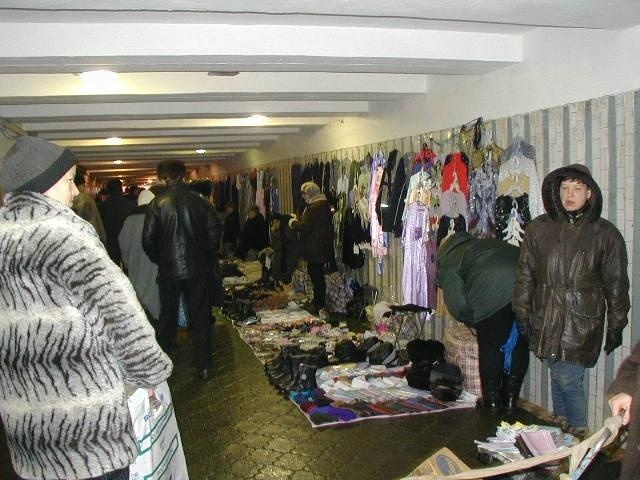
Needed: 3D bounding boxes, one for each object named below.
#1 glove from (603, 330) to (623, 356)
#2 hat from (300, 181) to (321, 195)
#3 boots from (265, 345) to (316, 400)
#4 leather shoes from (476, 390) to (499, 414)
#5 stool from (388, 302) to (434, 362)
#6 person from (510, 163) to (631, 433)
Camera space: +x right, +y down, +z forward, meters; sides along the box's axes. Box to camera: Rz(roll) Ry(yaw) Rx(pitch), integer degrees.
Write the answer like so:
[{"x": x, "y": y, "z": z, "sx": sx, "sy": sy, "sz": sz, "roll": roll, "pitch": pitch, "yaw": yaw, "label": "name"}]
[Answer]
[{"x": 2.228, "y": 0.779, "z": 3.821, "sx": 0.099, "sy": 0.227, "sz": 0.134, "roll": -4, "pitch": 7, "yaw": -19, "label": "glove"}, {"x": -0.152, "y": -0.880, "z": 8.449, "sx": 0.192, "sy": 0.209, "sz": 0.255, "roll": 8, "pitch": 29, "yaw": 14, "label": "hat"}, {"x": -0.313, "y": 1.417, "z": 5.328, "sx": 0.330, "sy": 0.186, "sz": 0.594, "roll": -13, "pitch": 16, "yaw": -8, "label": "boots"}, {"x": 1.557, "y": 1.481, "z": 4.646, "sx": 0.171, "sy": 0.179, "sz": 0.170, "roll": 0, "pitch": 3, "yaw": 31, "label": "leather shoes"}, {"x": 1.116, "y": 1.045, "z": 6.200, "sx": 0.566, "sy": 0.670, "sz": 1.214, "roll": -1, "pitch": 7, "yaw": 8, "label": "stool"}, {"x": 1.939, "y": 0.202, "z": 3.914, "sx": 0.358, "sy": 1.573, "sz": 0.793, "roll": -7, "pitch": 8, "yaw": -41, "label": "person"}]
